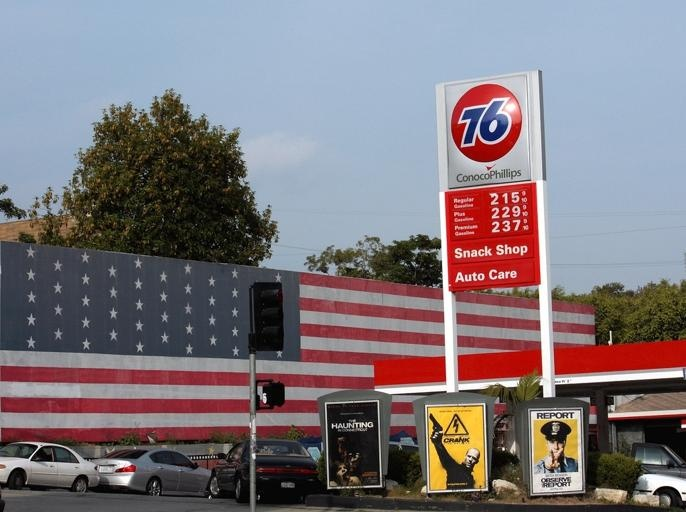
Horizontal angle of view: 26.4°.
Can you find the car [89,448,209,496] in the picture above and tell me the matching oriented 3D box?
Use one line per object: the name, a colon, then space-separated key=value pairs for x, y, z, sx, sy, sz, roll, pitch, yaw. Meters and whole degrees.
car: x=-6.991 y=8.001 z=54.023 sx=1.825 sy=1.354 sz=4.183 roll=-3 pitch=-5 yaw=44
